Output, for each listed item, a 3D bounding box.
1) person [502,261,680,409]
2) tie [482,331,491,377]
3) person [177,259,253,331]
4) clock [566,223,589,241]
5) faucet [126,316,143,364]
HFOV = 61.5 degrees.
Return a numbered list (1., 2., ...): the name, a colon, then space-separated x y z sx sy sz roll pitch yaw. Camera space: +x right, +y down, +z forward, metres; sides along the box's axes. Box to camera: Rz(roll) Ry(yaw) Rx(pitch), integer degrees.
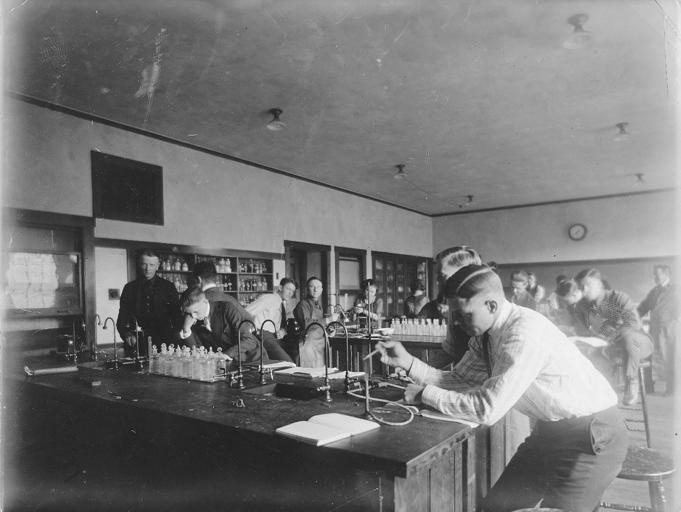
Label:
1. person: 2.287 0.690 5.045 0.790 0.685 1.341 -10 33 -42
2. tie: 0.891 0.599 3.517 0.035 0.283 0.031 -7 -2 18
3. person: -1.336 0.528 5.792 0.314 0.832 0.809 -7 16 11
4. clock: 4.021 -0.393 9.775 0.057 0.250 0.240 1 7 -33
5. faucet: -1.991 0.822 5.510 0.097 0.349 0.158 10 -13 13
